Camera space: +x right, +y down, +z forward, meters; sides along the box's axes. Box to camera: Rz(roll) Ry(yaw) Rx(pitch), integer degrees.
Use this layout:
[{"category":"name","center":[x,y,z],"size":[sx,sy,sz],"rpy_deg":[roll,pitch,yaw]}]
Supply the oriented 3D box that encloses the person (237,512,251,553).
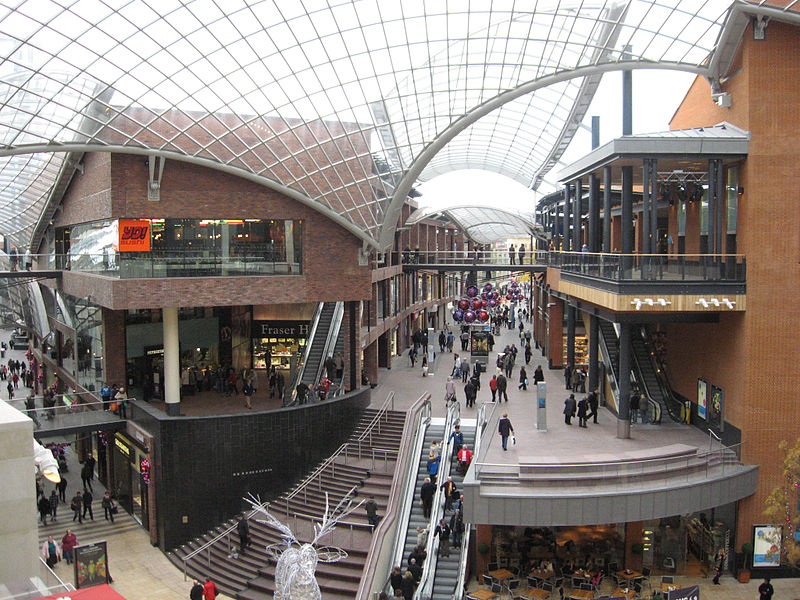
[{"category":"person","center":[-8.127,12.172,37.150],"size":[0.616,1.926,0.720],"rpy_deg":[1,0,-14]}]

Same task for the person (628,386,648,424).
[{"category":"person","center":[13.511,5.962,41.030],"size":[1.403,2.093,0.767],"rpy_deg":[1,-6,-14]}]

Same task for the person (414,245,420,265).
[{"category":"person","center":[1.716,-4.200,69.657],"size":[0.585,1.436,1.023],"rpy_deg":[1,0,-3]}]

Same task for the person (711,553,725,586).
[{"category":"person","center":[15.861,13.268,35.477],"size":[0.406,1.062,1.327],"rpy_deg":[1,0,33]}]

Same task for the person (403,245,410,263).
[{"category":"person","center":[0.601,-4.298,69.179],"size":[0.616,1.273,0.828],"rpy_deg":[1,0,0]}]
